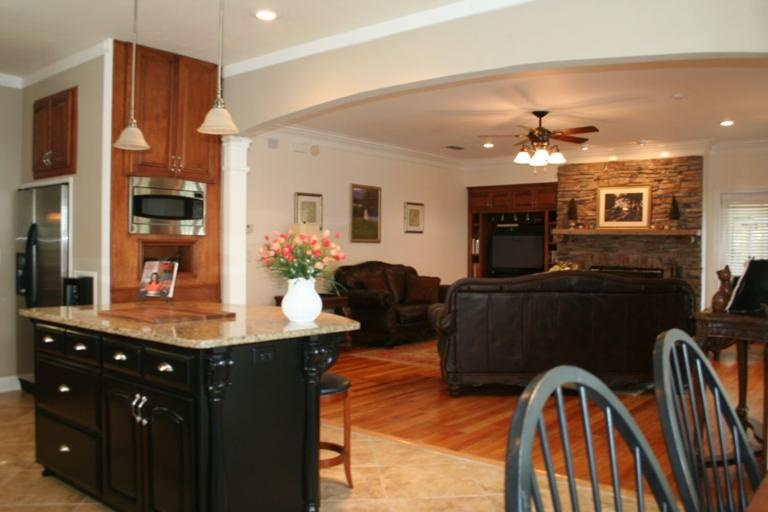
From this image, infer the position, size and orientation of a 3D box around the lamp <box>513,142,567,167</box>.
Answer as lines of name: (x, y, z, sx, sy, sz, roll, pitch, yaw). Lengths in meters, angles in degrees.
lamp: (1.936, -1.230, 7.619, 0.701, 0.234, 0.625, 0, 1, -10)

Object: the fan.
fan: (2.176, -1.531, 7.727, 0.986, 0.269, 0.833, 2, 6, 23)

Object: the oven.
oven: (-2.081, -0.446, 5.975, 0.528, 0.628, 1.007, 0, -1, 44)

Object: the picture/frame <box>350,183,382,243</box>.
picture/frame: (-0.302, -0.667, 9.731, 0.067, 0.907, 0.672, 1, 1, 40)

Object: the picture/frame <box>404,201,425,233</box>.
picture/frame: (0.500, -0.679, 10.609, 0.074, 0.515, 0.649, -3, -4, 40)

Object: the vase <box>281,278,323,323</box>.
vase: (-0.520, 0.293, 4.058, 0.341, 0.273, 0.264, 0, 2, -12)

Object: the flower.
flower: (-0.518, 0.000, 4.005, 0.521, 0.354, 0.575, 0, 0, 4)
